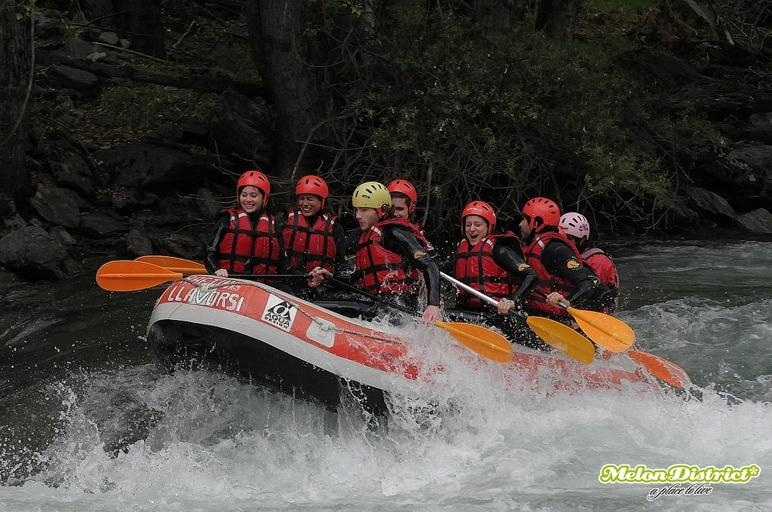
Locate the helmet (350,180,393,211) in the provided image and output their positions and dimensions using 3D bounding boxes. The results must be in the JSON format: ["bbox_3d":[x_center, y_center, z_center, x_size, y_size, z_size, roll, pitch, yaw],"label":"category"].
[{"bbox_3d":[-0.198,-0.749,9.823,0.437,0.312,0.313,6,-7,-45],"label":"helmet"}]

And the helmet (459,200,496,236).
[{"bbox_3d":[1.160,-0.524,9.953,0.367,0.417,0.461,-8,-25,37],"label":"helmet"}]

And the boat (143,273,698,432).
[{"bbox_3d":[0.480,1.087,9.727,6.179,1.149,1.941,17,-10,-15],"label":"boat"}]

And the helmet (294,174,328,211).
[{"bbox_3d":[-0.935,-0.830,10.115,0.354,0.353,0.464,-5,-31,17],"label":"helmet"}]

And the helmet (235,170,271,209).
[{"bbox_3d":[-1.610,-0.865,9.855,0.409,0.497,0.461,5,-5,1],"label":"helmet"}]

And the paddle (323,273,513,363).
[{"bbox_3d":[0.368,0.782,9.375,2.248,0.299,0.134,25,14,8],"label":"paddle"}]

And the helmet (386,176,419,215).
[{"bbox_3d":[0.305,-0.825,10.645,0.372,0.468,0.427,5,33,23],"label":"helmet"}]

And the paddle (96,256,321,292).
[{"bbox_3d":[-2.077,0.229,9.565,1.493,0.285,0.232,4,-41,3],"label":"paddle"}]
